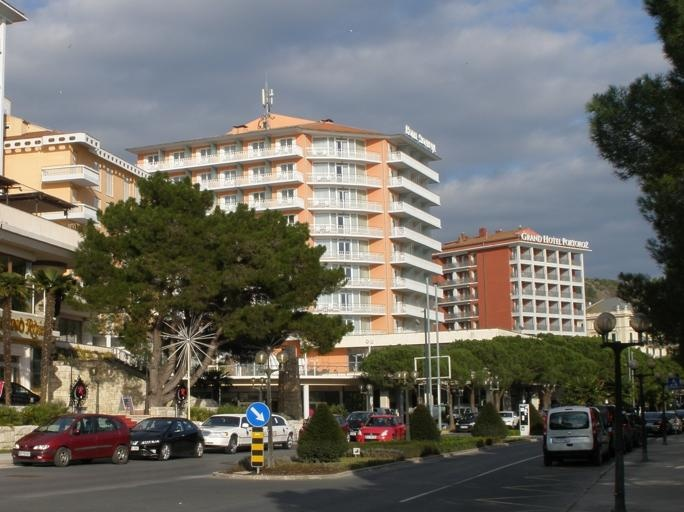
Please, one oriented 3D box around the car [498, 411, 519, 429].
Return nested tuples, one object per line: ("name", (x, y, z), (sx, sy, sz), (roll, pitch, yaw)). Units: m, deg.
("car", (12.991, 12.682, 81.204), (1.267, 1.770, 4.633), (-4, -15, 8))
